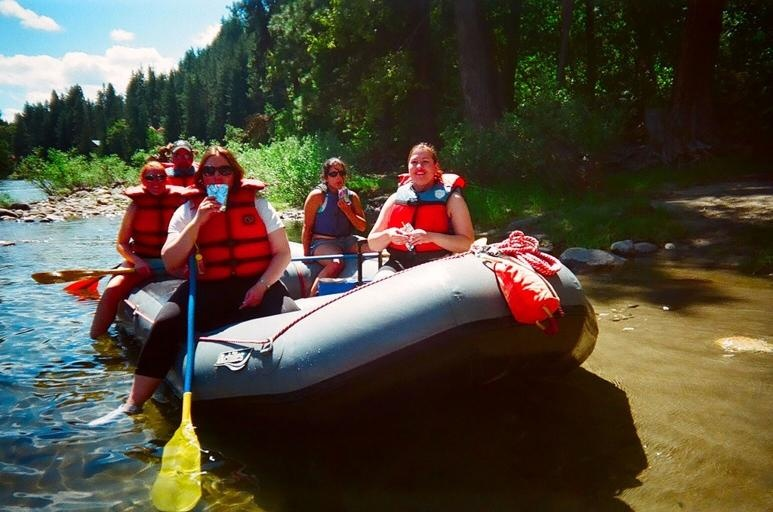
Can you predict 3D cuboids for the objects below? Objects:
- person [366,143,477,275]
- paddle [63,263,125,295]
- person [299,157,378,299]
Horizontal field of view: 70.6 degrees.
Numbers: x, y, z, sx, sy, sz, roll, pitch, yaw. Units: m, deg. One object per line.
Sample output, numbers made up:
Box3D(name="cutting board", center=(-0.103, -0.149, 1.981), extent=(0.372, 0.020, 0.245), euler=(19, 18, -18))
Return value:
Box3D(name="person", center=(0.294, -0.274, 5.178), extent=(1.049, 1.453, 0.807), euler=(5, -4, 19))
Box3D(name="paddle", center=(-3.530, 0.273, 6.606), extent=(0.160, 0.287, 2.038), euler=(-33, 14, -36))
Box3D(name="person", center=(-0.551, -0.296, 6.495), extent=(1.069, 1.648, 1.116), euler=(6, 13, 20))
